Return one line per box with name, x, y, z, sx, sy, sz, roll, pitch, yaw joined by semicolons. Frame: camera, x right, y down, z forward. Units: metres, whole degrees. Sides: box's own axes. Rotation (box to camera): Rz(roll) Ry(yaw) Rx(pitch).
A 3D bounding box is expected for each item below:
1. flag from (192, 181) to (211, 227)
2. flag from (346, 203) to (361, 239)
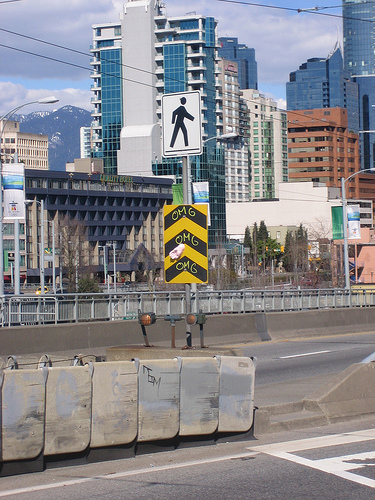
flag;0.695;-2.255;55.929;0.739;0.067;2.425;-2;-44;1
flag;7.084;-1.152;49.901;0.570;1.586;0.064;-3;27;10
